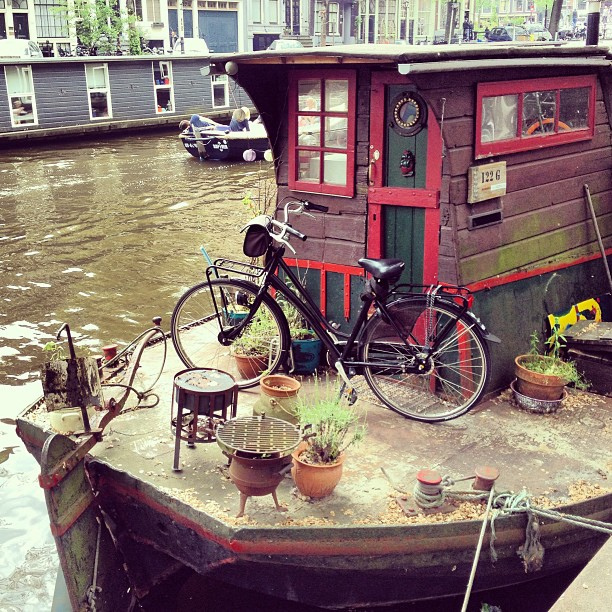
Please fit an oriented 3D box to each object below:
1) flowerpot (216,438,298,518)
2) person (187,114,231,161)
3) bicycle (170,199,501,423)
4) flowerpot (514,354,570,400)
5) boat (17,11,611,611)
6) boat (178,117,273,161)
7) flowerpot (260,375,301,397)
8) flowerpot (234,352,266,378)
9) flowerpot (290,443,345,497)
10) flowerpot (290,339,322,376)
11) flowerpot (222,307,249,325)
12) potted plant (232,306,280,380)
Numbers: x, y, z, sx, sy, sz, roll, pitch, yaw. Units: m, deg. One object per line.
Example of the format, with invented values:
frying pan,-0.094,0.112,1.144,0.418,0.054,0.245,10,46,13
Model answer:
flowerpot,-0.269,0.920,3.664,0.501,0.412,0.431,2,3,-2
person,-4.001,-6.709,24.590,0.973,1.069,2.812,11,27,-20
bicycle,0.179,0.048,5.124,2.860,1.454,0.781,6,12,25
flowerpot,1.908,0.643,5.037,0.352,0.216,0.366,10,4,42
boat,1.194,-0.220,6.062,3.541,3.420,6.404,8,13,34
boat,-3.323,-6.094,24.768,2.411,1.449,4.132,4,2,12
flowerpot,-0.188,0.548,4.365,0.174,0.058,0.166,1,12,-15
flowerpot,-0.475,0.512,5.433,0.234,0.157,0.223,3,12,2
flowerpot,0.076,0.992,3.806,0.339,0.221,0.325,6,13,13
flowerpot,-0.003,0.448,5.606,0.316,0.317,0.315,-7,5,-44
flowerpot,-0.650,0.097,5.826,0.199,0.123,0.177,5,7,7
potted plant,-0.420,0.317,5.564,0.579,0.401,0.569,0,13,-1
